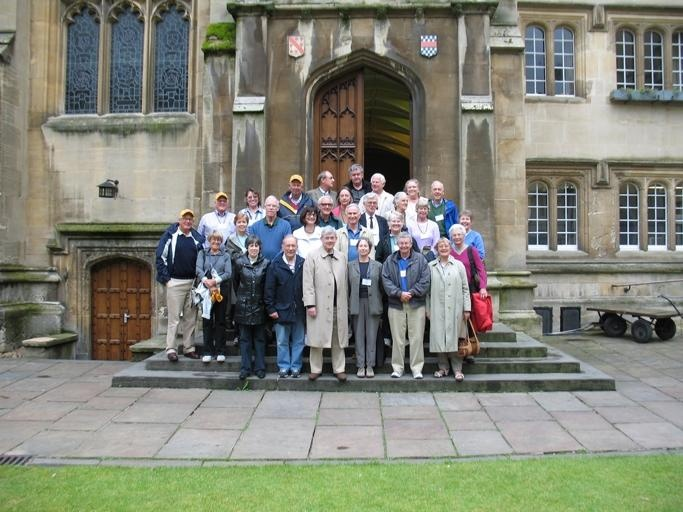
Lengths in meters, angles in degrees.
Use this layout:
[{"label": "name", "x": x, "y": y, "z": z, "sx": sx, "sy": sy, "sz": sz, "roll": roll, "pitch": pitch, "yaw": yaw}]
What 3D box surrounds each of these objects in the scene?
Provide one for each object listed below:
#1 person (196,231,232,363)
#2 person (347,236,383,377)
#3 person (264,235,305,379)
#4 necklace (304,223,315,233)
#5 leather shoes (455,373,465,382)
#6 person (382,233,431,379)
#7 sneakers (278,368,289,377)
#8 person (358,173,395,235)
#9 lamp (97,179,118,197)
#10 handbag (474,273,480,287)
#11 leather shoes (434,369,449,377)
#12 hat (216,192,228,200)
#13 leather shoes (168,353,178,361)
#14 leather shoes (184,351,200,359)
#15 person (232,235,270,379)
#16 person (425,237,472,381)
[{"label": "person", "x": -2.197, "y": 0.715, "z": 14.477, "sx": 0.621, "sy": 2.241, "sz": 0.580, "roll": 0, "pitch": 0, "yaw": 2}, {"label": "person", "x": 0.383, "y": 1.004, "z": 14.026, "sx": 0.559, "sy": 2.046, "sz": 0.255, "roll": 0, "pitch": 0, "yaw": 1}, {"label": "person", "x": -0.934, "y": 0.851, "z": 14.077, "sx": 0.618, "sy": 2.355, "sz": 0.471, "roll": 0, "pitch": 0, "yaw": 12}, {"label": "necklace", "x": -0.554, "y": -0.468, "z": 14.409, "sx": 0.154, "sy": 0.158, "sz": 0.150, "roll": 0, "pitch": -5, "yaw": -15}, {"label": "leather shoes", "x": 1.952, "y": 2.019, "z": 14.012, "sx": 0.103, "sy": 0.111, "sz": 0.281, "roll": -1, "pitch": -8, "yaw": 3}, {"label": "person", "x": 1.064, "y": 0.821, "z": 13.959, "sx": 0.782, "sy": 2.424, "sz": 0.456, "roll": 0, "pitch": 0, "yaw": 5}, {"label": "sneakers", "x": -0.980, "y": 1.951, "z": 14.063, "sx": 0.108, "sy": 0.125, "sz": 0.148, "roll": 1, "pitch": -19, "yaw": -1}, {"label": "person", "x": 0.722, "y": -1.006, "z": 15.084, "sx": 0.747, "sy": 1.230, "sz": 0.711, "roll": -2, "pitch": -10, "yaw": 21}, {"label": "lamp", "x": -5.085, "y": -1.463, "z": 18.331, "sx": 0.386, "sy": 0.327, "sz": 0.387, "roll": 1, "pitch": 2, "yaw": 23}, {"label": "handbag", "x": 2.288, "y": 0.407, "z": 14.278, "sx": 0.055, "sy": 0.142, "sz": 0.146, "roll": -1, "pitch": 1, "yaw": -25}, {"label": "leather shoes", "x": 1.676, "y": 1.978, "z": 14.198, "sx": 0.097, "sy": 0.105, "sz": 0.251, "roll": -3, "pitch": -10, "yaw": 37}, {"label": "hat", "x": -2.201, "y": -1.094, "z": 15.401, "sx": 0.183, "sy": 0.158, "sz": 0.581, "roll": 0, "pitch": 0, "yaw": -4}, {"label": "leather shoes", "x": -2.960, "y": 1.748, "z": 14.626, "sx": 0.207, "sy": 0.165, "sz": 0.147, "roll": 0, "pitch": 0, "yaw": 6}, {"label": "leather shoes", "x": -2.630, "y": 1.735, "z": 14.739, "sx": 0.239, "sy": 0.102, "sz": 0.124, "roll": -3, "pitch": -1, "yaw": 18}, {"label": "person", "x": -1.518, "y": 0.884, "z": 14.107, "sx": 0.580, "sy": 2.383, "sz": 0.346, "roll": 0, "pitch": 0, "yaw": -7}, {"label": "person", "x": 1.785, "y": 0.903, "z": 14.026, "sx": 0.683, "sy": 2.372, "sz": 0.380, "roll": 0, "pitch": 0, "yaw": 8}]
